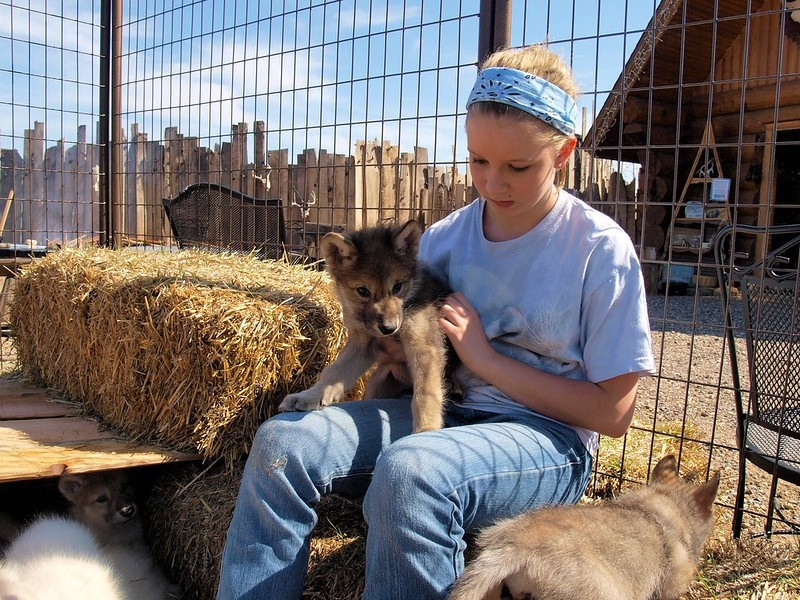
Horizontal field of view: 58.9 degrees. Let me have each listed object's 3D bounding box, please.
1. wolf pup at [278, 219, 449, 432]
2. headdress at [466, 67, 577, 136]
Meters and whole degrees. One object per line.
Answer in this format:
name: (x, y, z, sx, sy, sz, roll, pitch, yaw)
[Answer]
wolf pup: (0.018, 0.123, 4.508, 0.659, 1.236, 1.558, 11, 8, 26)
headdress: (0.624, -1.063, 3.799, 0.563, 0.256, 0.548, 15, 0, -18)
